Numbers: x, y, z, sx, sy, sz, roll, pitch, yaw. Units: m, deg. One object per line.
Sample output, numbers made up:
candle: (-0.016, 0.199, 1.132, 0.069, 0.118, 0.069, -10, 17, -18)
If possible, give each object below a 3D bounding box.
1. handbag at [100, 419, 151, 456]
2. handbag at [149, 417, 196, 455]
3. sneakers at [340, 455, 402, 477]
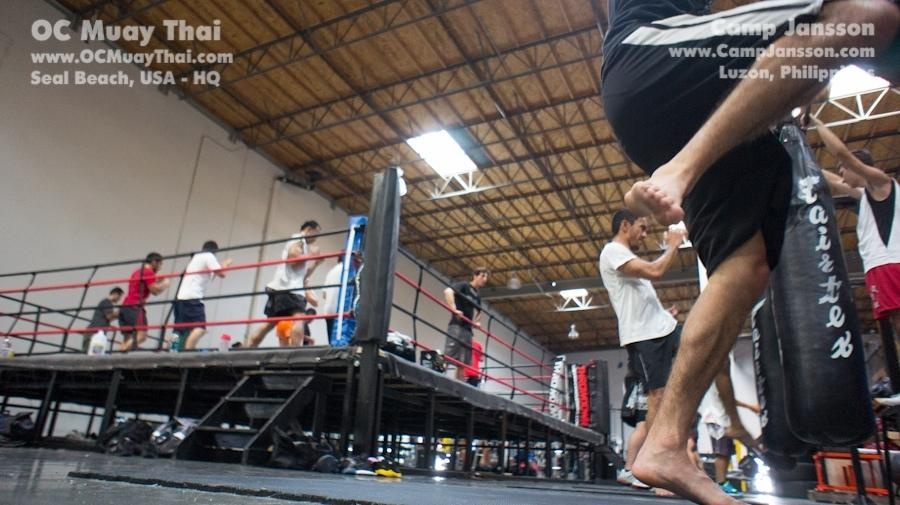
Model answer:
handbag: (-3.706, 2.081, 6.187, 0.434, 0.215, 0.537, 13, -13, -30)
handbag: (-3.098, 2.072, 6.028, 0.422, 0.183, 0.507, 7, -5, 19)
sneakers: (-0.768, 2.076, 5.174, 0.425, 0.128, 0.282, 0, -24, 9)
